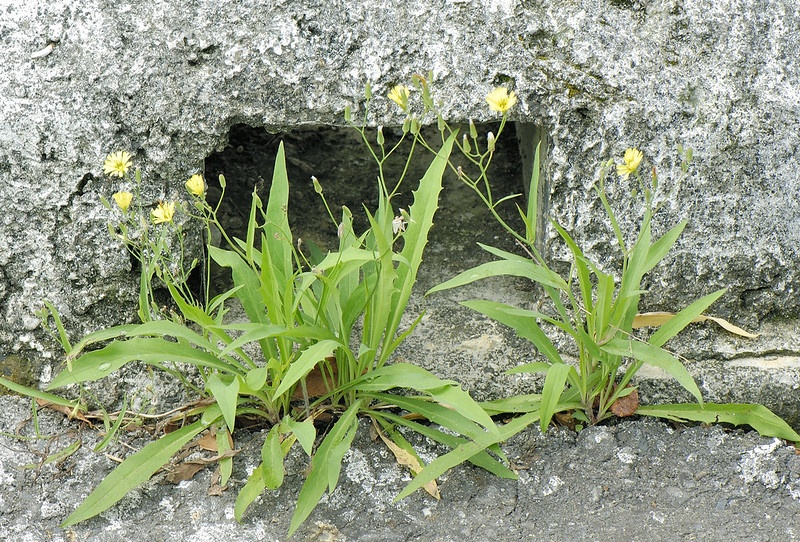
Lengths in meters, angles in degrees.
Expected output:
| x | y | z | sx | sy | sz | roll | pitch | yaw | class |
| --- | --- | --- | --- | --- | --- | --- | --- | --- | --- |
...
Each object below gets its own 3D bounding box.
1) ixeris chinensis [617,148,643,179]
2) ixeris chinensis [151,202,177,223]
| x | y | z | sx | sy | sz | roll | pitch | yaw | class |
| --- | --- | --- | --- | --- | --- | --- | --- | --- | --- |
| 0.805 | -0.387 | 3.036 | 0.042 | 0.102 | 0.112 | 22 | 64 | -19 | ixeris chinensis |
| -0.832 | -0.208 | 3.042 | 0.074 | 0.042 | 0.085 | -11 | 46 | 42 | ixeris chinensis |
